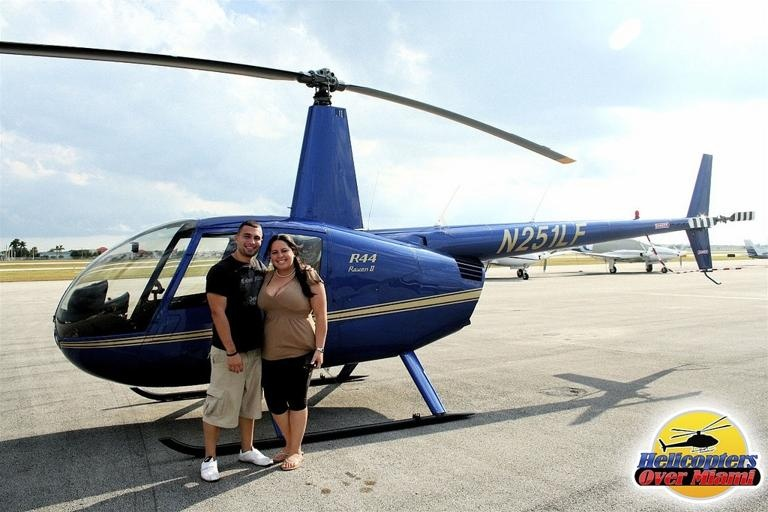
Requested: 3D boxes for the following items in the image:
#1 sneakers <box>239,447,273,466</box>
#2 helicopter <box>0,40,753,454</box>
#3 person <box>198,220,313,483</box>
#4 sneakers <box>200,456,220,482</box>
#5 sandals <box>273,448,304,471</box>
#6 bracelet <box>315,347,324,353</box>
[{"bbox_3d":[-1.275,2.027,4.545,0.394,0.119,0.135,5,7,16],"label":"sneakers"},{"bbox_3d":[-0.426,0.193,6.530,6.888,2.372,6.194,2,-4,-25],"label":"helicopter"},{"bbox_3d":[-1.452,0.892,4.358,0.714,2.440,0.337,-3,5,-24],"label":"person"},{"bbox_3d":[-1.650,2.025,4.264,0.176,0.198,0.163,-2,5,-20],"label":"sneakers"},{"bbox_3d":[-0.939,2.041,4.486,0.175,0.077,0.246,0,-7,3],"label":"sandals"},{"bbox_3d":[-0.633,0.926,4.406,0.074,0.036,0.068,0,-8,28],"label":"bracelet"}]
